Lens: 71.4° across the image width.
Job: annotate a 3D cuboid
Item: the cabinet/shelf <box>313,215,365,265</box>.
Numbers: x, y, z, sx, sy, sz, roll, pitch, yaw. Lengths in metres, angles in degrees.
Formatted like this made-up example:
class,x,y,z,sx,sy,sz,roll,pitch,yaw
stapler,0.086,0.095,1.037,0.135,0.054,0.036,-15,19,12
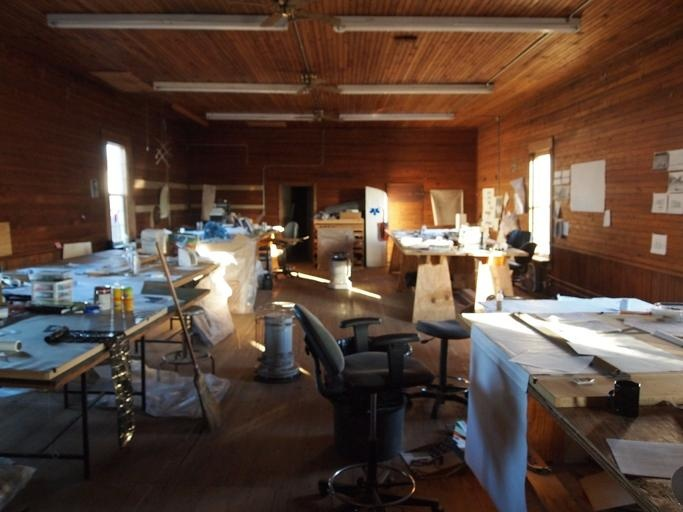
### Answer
class,x,y,z,sx,sy,sz,roll,pitch,yaw
cabinet/shelf,-0.043,-0.432,11.704,1.660,1.426,1.137,-1,0,-3

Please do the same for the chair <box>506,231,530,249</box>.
class,x,y,z,sx,sy,sz,roll,pitch,yaw
chair,3.028,-0.282,8.242,0.412,0.411,0.356,-1,1,-29

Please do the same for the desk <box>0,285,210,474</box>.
class,x,y,z,sx,sy,sz,roll,pitch,yaw
desk,-1.735,0.937,3.425,0.654,0.387,1.339,0,5,2

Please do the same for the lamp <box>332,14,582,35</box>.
class,x,y,z,sx,sy,sz,roll,pitch,yaw
lamp,1.210,-2.508,5.188,2.631,0.144,0.482,0,11,-5

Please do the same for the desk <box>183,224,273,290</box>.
class,x,y,z,sx,sy,sz,roll,pitch,yaw
desk,-1.561,0.093,7.435,0.787,0.849,1.352,2,14,-3

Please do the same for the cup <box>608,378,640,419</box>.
class,x,y,z,sx,sy,sz,roll,pitch,yaw
cup,1.182,0.615,2.030,0.085,0.123,0.135,0,3,-31

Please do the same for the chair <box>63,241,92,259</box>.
class,x,y,z,sx,sy,sz,roll,pitch,yaw
chair,-3.718,-0.067,6.665,0.230,0.361,0.225,7,11,26

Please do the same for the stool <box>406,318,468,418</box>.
class,x,y,z,sx,sy,sz,roll,pitch,yaw
stool,0.895,0.971,4.200,0.538,0.645,0.598,1,-6,35

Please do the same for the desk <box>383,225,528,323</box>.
class,x,y,z,sx,sy,sz,roll,pitch,yaw
desk,2.019,0.621,7.785,1.516,0.742,3.492,-3,-11,13
